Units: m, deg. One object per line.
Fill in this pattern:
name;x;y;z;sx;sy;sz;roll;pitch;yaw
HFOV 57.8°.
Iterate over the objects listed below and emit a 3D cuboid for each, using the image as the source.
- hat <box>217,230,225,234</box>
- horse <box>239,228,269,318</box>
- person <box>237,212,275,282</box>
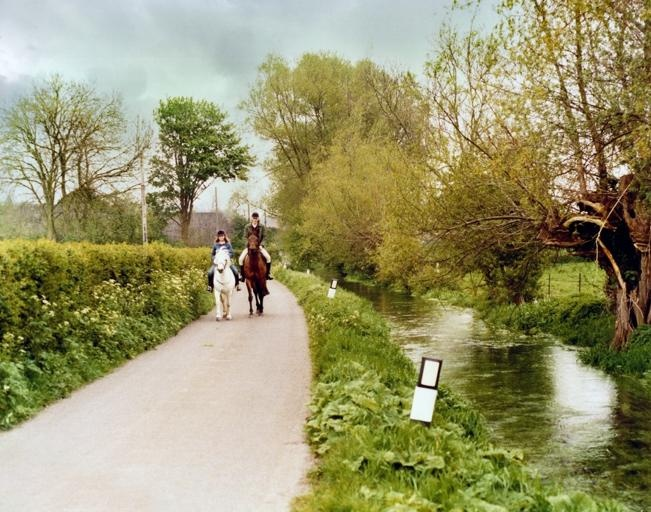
hat;-3.273;-0.748;18.504;0.154;0.105;0.167;-2;5;5
horse;-2.343;0.689;19.800;0.961;2.768;1.842;-2;2;-7
person;-2.385;-0.265;19.727;0.912;2.333;0.987;-4;12;-24
